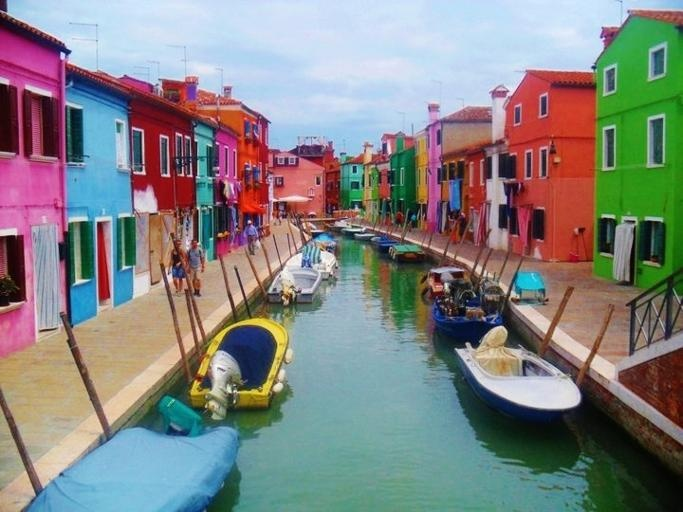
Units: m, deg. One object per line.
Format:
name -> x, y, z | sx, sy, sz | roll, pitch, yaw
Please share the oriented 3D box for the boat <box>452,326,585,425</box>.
boat -> 4.207, 2.732, 13.671 | 2.016, 1.479, 3.264 | -2, 8, -4
